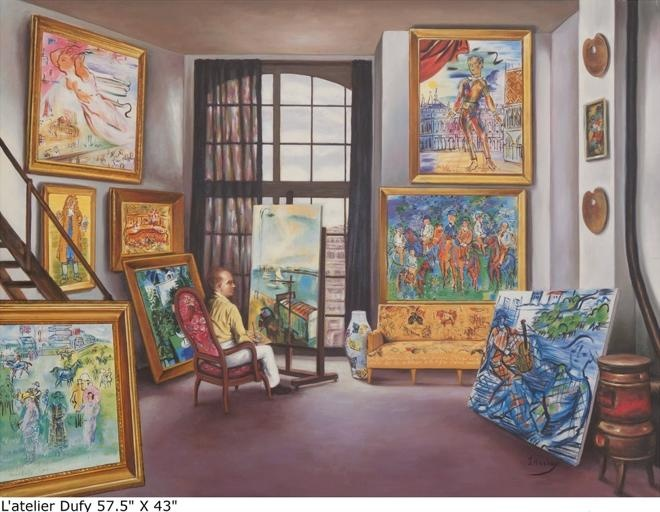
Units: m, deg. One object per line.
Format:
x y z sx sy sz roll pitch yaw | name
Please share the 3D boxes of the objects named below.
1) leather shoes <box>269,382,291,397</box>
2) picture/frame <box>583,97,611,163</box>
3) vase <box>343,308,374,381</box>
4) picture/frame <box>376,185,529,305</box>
-0.529 1.420 6.438 0.238 0.114 0.094 -2 2 -6 | leather shoes
2.457 -1.158 5.635 0.111 0.571 0.315 -3 14 -13 | picture/frame
0.334 0.992 6.792 0.257 0.705 0.405 -8 15 -30 | vase
1.360 -0.122 6.982 1.211 1.013 0.055 0 0 2 | picture/frame
